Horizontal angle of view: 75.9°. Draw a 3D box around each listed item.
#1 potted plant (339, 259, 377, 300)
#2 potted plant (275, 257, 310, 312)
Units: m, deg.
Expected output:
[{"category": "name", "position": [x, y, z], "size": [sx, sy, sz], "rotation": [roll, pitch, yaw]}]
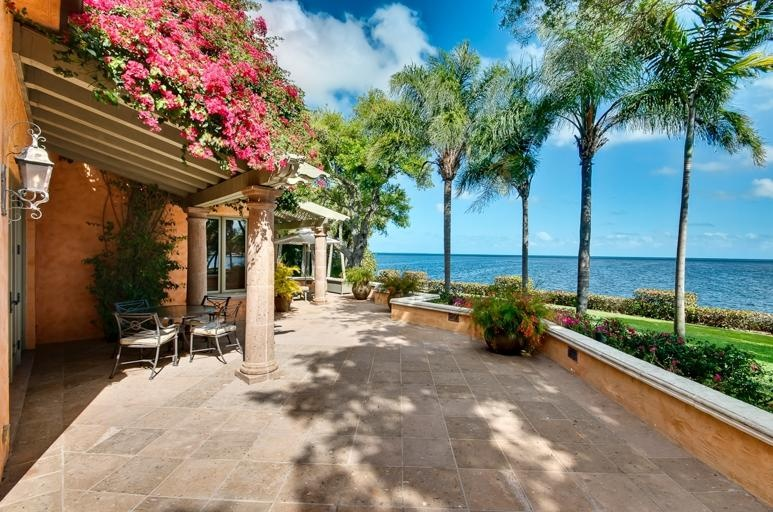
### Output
[{"category": "potted plant", "position": [-0.972, 1.061, 18.890], "size": [1.006, 1.193, 0.640], "rotation": [0, -2, 6]}, {"category": "potted plant", "position": [-3.030, 1.007, 16.109], "size": [1.367, 1.702, 1.672], "rotation": [3, -3, -34]}]
